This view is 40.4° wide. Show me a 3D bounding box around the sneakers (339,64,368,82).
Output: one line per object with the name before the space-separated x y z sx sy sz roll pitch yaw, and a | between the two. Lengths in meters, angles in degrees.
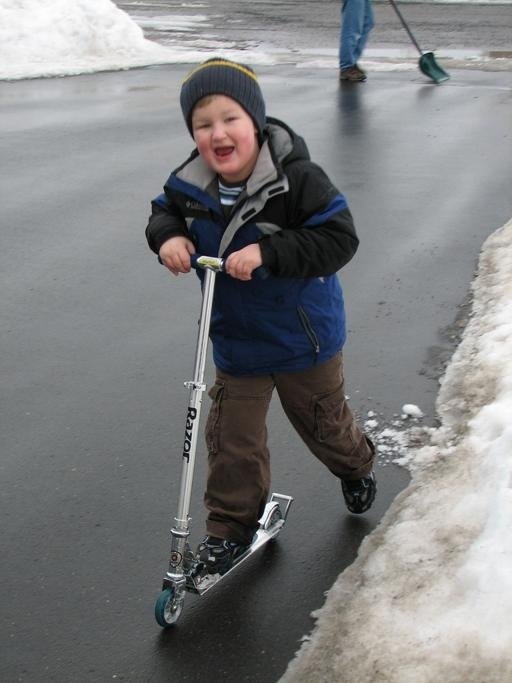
sneakers | 1.781 -4.848 12.629 0.318 0.214 0.638 -6 -10 30

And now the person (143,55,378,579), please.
person | 0.005 -0.018 2.287 0.759 1.714 0.597 -20 31 -16

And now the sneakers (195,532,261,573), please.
sneakers | -0.112 0.688 2.275 0.068 0.066 0.199 5 8 23

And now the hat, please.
hat | -0.100 -0.720 2.074 0.247 0.243 0.225 -8 28 2
